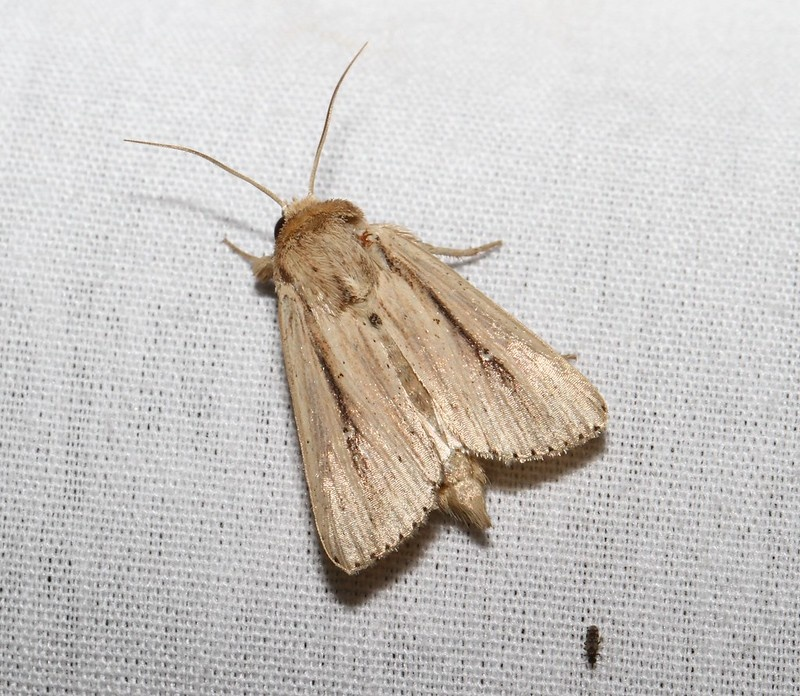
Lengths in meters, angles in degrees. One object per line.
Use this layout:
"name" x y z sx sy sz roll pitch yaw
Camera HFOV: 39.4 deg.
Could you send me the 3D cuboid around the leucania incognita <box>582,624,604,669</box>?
"leucania incognita" 0.694 1.080 4.031 0.047 0.187 0.135 -32 74 -9
